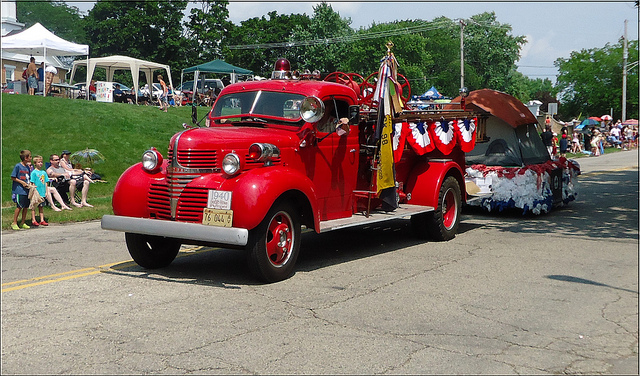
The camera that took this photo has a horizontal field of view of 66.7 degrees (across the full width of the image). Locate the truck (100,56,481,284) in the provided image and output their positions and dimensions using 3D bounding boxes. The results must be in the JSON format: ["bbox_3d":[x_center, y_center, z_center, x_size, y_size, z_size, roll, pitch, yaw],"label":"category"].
[{"bbox_3d":[0.177,-0.588,12.087,4.462,3.850,9.246,-4,-3,43],"label":"truck"}]

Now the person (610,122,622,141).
[{"bbox_3d":[31.422,-5.908,52.334,0.891,1.509,3.259,7,13,31],"label":"person"}]

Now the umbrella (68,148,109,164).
[{"bbox_3d":[-9.589,-1.293,20.178,1.120,0.516,1.068,-7,2,-40],"label":"umbrella"}]

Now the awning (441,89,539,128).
[{"bbox_3d":[5.891,-2.676,16.078,2.269,0.904,2.026,2,3,39],"label":"awning"}]

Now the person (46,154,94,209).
[{"bbox_3d":[-8.341,-0.238,16.556,1.561,1.776,1.043,-2,-3,-8],"label":"person"}]

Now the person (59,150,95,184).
[{"bbox_3d":[-8.321,-0.731,16.946,1.467,0.799,0.558,17,24,13],"label":"person"}]

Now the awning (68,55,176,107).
[{"bbox_3d":[-13.239,-8.379,32.820,5.410,2.936,5.033,1,1,23],"label":"awning"}]

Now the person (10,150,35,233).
[{"bbox_3d":[-8.577,0.037,14.035,0.699,2.114,1.413,-7,13,-32],"label":"person"}]
